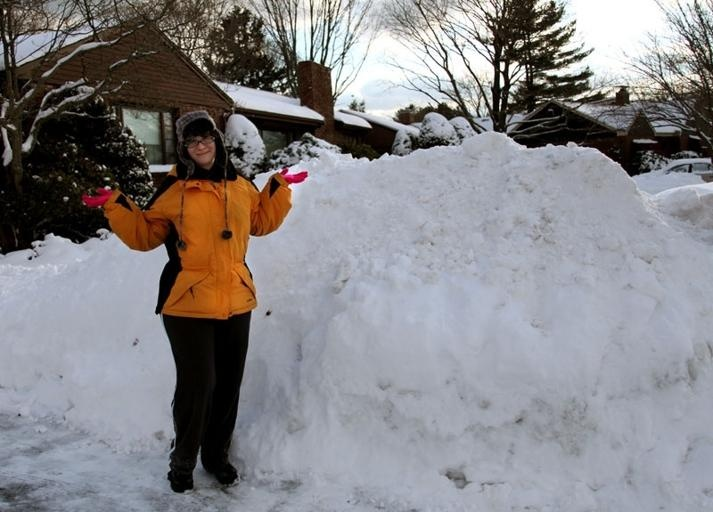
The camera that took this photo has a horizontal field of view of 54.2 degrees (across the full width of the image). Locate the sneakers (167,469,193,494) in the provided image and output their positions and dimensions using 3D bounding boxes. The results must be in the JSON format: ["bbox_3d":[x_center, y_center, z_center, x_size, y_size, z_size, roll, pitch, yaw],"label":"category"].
[{"bbox_3d":[-1.528,1.945,6.027,0.213,0.166,0.133,3,-2,44],"label":"sneakers"}]

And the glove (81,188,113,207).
[{"bbox_3d":[-2.392,-0.541,6.406,0.237,0.165,1.184,-4,5,-20],"label":"glove"}]
